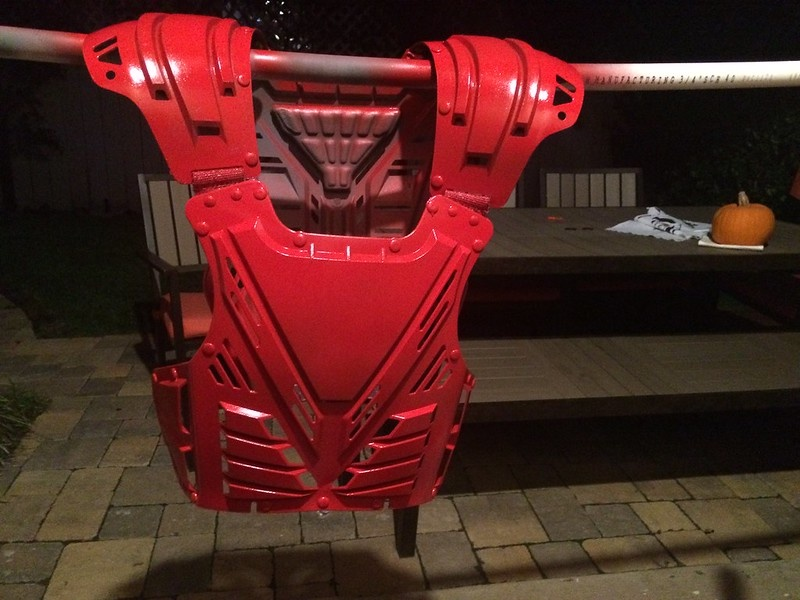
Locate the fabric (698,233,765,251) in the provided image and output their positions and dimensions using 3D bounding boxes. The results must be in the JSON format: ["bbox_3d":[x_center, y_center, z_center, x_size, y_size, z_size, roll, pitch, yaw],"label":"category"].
[{"bbox_3d":[1.283,-0.222,2.354,0.197,0.032,0.266,-11,17,-39],"label":"fabric"}]
